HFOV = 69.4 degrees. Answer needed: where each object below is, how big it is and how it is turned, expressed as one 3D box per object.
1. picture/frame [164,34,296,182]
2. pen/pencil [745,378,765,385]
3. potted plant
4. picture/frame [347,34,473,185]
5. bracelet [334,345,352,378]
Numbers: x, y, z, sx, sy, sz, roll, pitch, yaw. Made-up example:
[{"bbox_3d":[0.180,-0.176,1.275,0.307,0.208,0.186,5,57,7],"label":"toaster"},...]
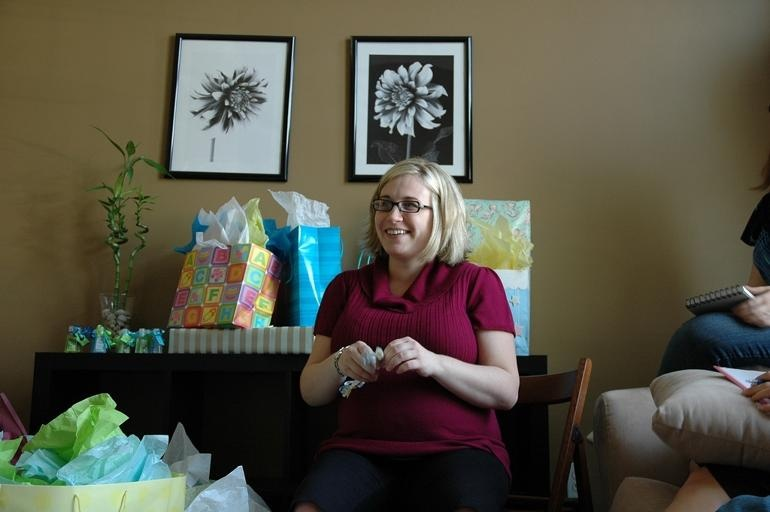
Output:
[{"bbox_3d":[-0.712,-0.662,2.603,0.589,0.799,0.049,2,-11,3],"label":"picture/frame"},{"bbox_3d":[1.030,0.348,1.551,0.052,0.016,0.021,-3,36,-11],"label":"pen/pencil"},{"bbox_3d":[-1.140,-0.146,2.492,0.294,0.884,0.497,1,3,-29],"label":"potted plant"},{"bbox_3d":[0.120,-0.639,2.516,0.693,0.907,0.036,0,-9,-1],"label":"picture/frame"},{"bbox_3d":[-0.133,0.310,1.626,0.027,0.080,0.082,3,38,12],"label":"bracelet"}]
